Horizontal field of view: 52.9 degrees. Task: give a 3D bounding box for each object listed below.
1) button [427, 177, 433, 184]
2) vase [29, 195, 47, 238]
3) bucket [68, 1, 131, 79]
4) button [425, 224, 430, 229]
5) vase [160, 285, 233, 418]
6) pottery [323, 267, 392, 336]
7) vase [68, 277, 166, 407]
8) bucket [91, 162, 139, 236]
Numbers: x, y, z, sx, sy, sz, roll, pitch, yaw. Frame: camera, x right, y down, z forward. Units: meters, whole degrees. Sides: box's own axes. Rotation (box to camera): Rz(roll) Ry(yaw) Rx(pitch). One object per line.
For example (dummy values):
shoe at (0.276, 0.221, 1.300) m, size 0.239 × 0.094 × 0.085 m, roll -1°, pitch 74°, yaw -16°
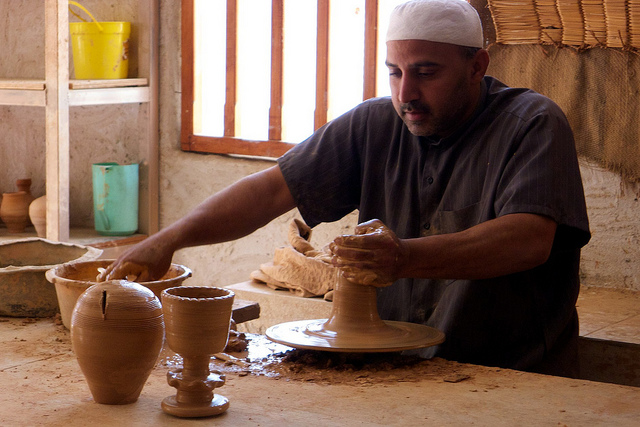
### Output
button at (0.456, -0.138, 2.664) m, size 0.025 × 0.024 × 0.005 m, roll 10°, pitch 15°, yaw 36°
vase at (-2.087, 0.023, 4.786) m, size 0.189 × 0.305 × 0.083 m, roll 7°, pitch 13°, yaw 27°
bucket at (-1.652, -1.281, 4.871) m, size 0.433 × 0.503 × 0.265 m, roll -3°, pitch 13°, yaw -20°
button at (0.448, 0.055, 2.688) m, size 0.020 × 0.020 × 0.005 m, roll 6°, pitch 13°, yaw 21°
vase at (-0.357, 0.394, 1.888) m, size 0.203 × 0.344 × 0.246 m, roll -1°, pitch 12°, yaw -8°
pottery at (0.136, 0.302, 2.256) m, size 0.246 × 0.231 × 0.147 m, roll 1°, pitch 12°, yaw 0°
vase at (-0.589, 0.378, 1.891) m, size 0.258 × 0.364 × 0.200 m, roll -3°, pitch 12°, yaw -17°
bucket at (-1.655, -0.117, 5.247) m, size 0.399 × 0.563 × 0.601 m, roll -1°, pitch 3°, yaw -4°
